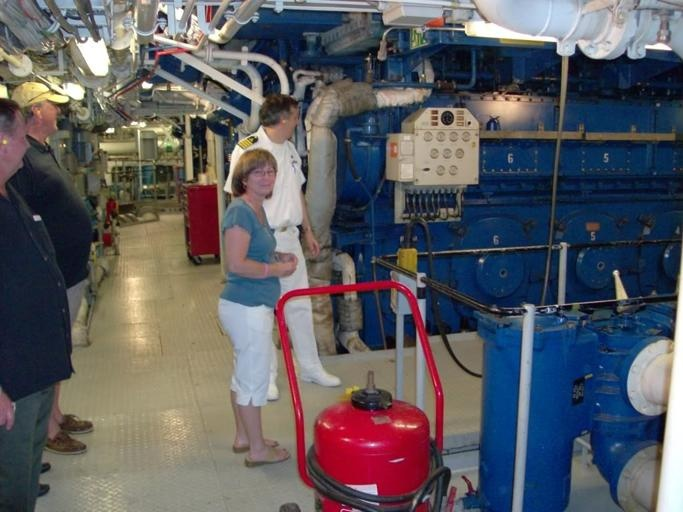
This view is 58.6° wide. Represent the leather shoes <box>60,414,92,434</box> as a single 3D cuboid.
[{"bbox_3d":[-2.088,1.335,4.853,0.280,0.114,0.107,3,17,-17],"label":"leather shoes"}]

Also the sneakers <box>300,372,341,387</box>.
[{"bbox_3d":[-0.171,1.093,5.491,0.352,0.163,0.137,2,9,18],"label":"sneakers"}]

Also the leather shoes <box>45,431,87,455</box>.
[{"bbox_3d":[-2.047,1.406,4.551,0.278,0.115,0.140,6,11,1],"label":"leather shoes"}]

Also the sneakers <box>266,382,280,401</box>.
[{"bbox_3d":[-0.579,1.180,5.241,0.076,0.092,0.228,0,-1,-8],"label":"sneakers"}]

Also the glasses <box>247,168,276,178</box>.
[{"bbox_3d":[-0.514,-0.546,3.985,0.193,0.078,0.068,-5,12,-12],"label":"glasses"}]

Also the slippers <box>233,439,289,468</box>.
[{"bbox_3d":[-0.559,1.402,4.344,0.349,0.128,0.225,-4,11,-39],"label":"slippers"}]

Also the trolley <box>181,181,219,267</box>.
[{"bbox_3d":[-2.664,-0.600,11.636,0.950,1.711,1.328,-5,14,-20],"label":"trolley"}]
